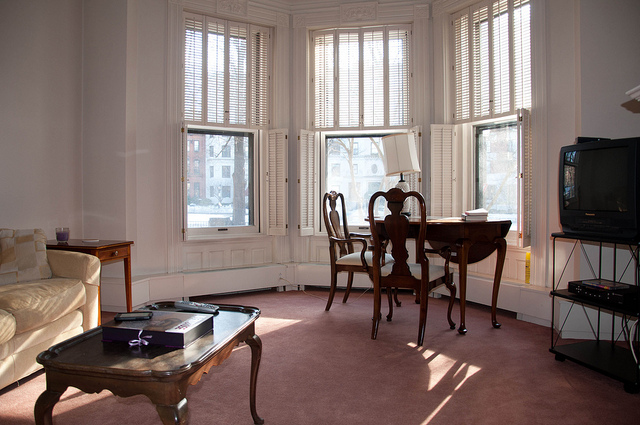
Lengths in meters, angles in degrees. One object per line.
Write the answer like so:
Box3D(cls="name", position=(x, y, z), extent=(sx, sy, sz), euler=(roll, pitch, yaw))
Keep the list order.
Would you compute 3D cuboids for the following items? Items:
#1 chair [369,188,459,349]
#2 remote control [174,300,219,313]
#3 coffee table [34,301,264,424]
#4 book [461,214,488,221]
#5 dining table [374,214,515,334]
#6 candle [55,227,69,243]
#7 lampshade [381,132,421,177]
Box3D(cls="chair", position=(0.856, 0.477, 4.579), extent=(0.797, 1.331, 0.851), euler=(0, 0, 38))
Box3D(cls="remote control", position=(-0.910, 0.683, 3.386), extent=(0.219, 0.041, 0.118), euler=(2, -2, 3))
Box3D(cls="coffee table", position=(-1.094, 0.913, 3.008), extent=(0.939, 0.702, 1.177), euler=(1, 2, 11))
Box3D(cls="book", position=(1.477, 0.047, 4.437), extent=(0.240, 0.063, 0.129), euler=(2, 11, 12))
Box3D(cls="dining table", position=(1.171, 0.622, 4.962), extent=(0.986, 1.092, 1.567), euler=(5, -4, -41))
Box3D(cls="candle", position=(-2.527, 0.213, 4.555), extent=(0.137, 0.136, 0.135), euler=(4, -6, -40))
Box3D(cls="lampshade", position=(0.818, -0.605, 4.996), extent=(0.432, 0.436, 0.417), euler=(-10, 2, -37))
